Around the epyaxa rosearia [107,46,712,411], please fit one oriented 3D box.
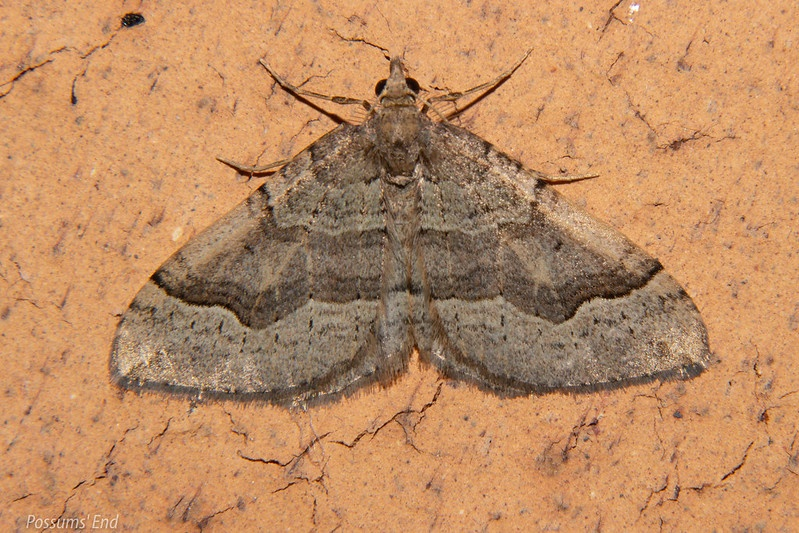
[{"bbox_3d":[0.249,-1.659,11.138,6.422,2.830,5.934,0,43,-5],"label":"epyaxa rosearia"}]
